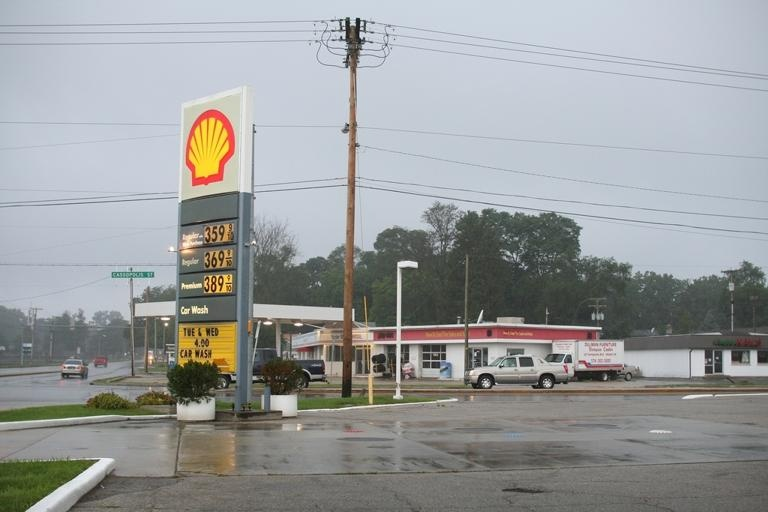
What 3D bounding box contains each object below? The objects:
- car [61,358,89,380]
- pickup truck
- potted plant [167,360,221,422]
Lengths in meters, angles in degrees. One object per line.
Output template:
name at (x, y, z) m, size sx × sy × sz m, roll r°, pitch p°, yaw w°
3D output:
car at (-24.254, 8.953, 74.520) m, size 1.411 × 1.302 × 3.494 m, roll 1°, pitch -10°, yaw -5°
pickup truck at (-6.601, 6.813, 55.258) m, size 6.511 × 2.751 × 3.054 m, roll 0°, pitch -14°, yaw 0°
potted plant at (-7.081, 5.257, 35.757) m, size 1.835 × 2.591 × 2.416 m, roll -1°, pitch -3°, yaw 5°
